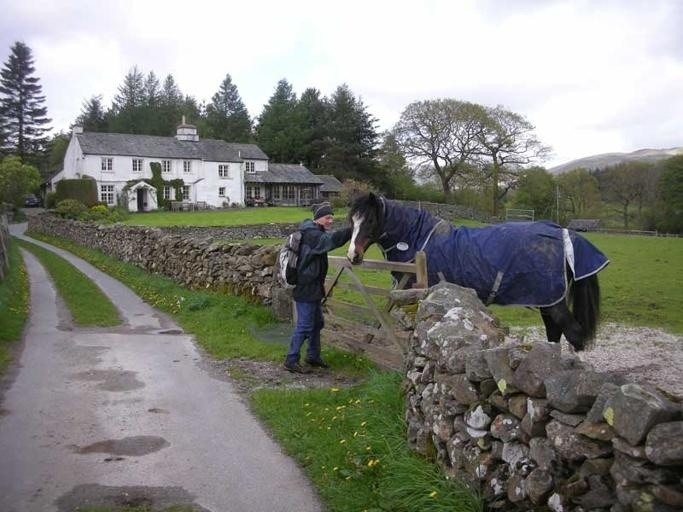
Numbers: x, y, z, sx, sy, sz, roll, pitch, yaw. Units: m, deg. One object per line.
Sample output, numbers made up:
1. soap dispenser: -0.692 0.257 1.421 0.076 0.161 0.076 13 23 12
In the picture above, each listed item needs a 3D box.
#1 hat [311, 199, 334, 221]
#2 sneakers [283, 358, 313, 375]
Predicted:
1. hat: -0.365 -0.751 9.046 0.364 0.332 0.290 -9 -5 26
2. sneakers: -0.725 1.786 9.024 0.457 0.238 0.197 3 10 16
